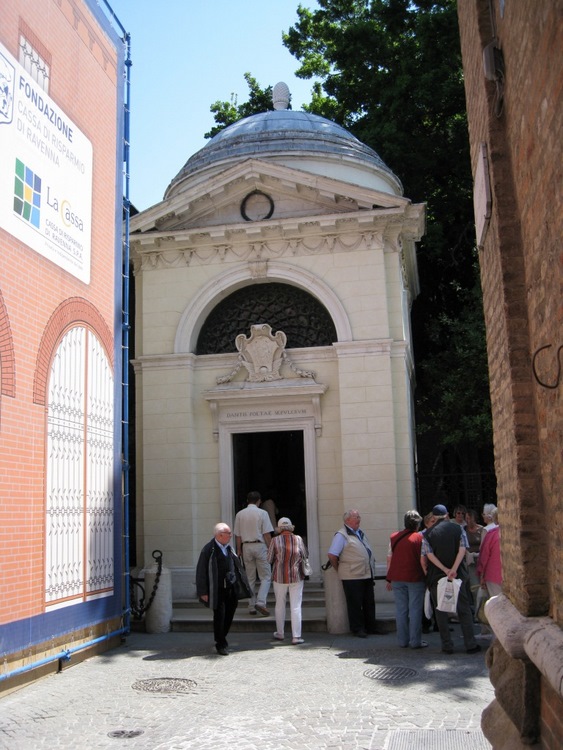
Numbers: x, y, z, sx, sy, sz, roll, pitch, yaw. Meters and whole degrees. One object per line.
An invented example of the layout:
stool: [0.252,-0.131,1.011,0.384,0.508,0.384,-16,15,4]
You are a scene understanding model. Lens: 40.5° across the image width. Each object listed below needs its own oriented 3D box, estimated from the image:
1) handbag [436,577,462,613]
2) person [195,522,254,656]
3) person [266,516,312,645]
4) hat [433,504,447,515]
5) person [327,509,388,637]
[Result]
handbag: [1.894,2.503,8.613,0.304,0.400,0.426,-4,-12,15]
person: [-0.732,2.612,9.269,0.441,1.554,0.623,-10,-14,37]
person: [0.115,2.775,10.293,0.505,1.635,0.678,0,-11,-6]
hat: [2.140,1.846,10.216,0.189,0.165,0.264,0,16,9]
person: [1.007,2.818,10.762,0.527,1.737,0.954,-5,-12,17]
